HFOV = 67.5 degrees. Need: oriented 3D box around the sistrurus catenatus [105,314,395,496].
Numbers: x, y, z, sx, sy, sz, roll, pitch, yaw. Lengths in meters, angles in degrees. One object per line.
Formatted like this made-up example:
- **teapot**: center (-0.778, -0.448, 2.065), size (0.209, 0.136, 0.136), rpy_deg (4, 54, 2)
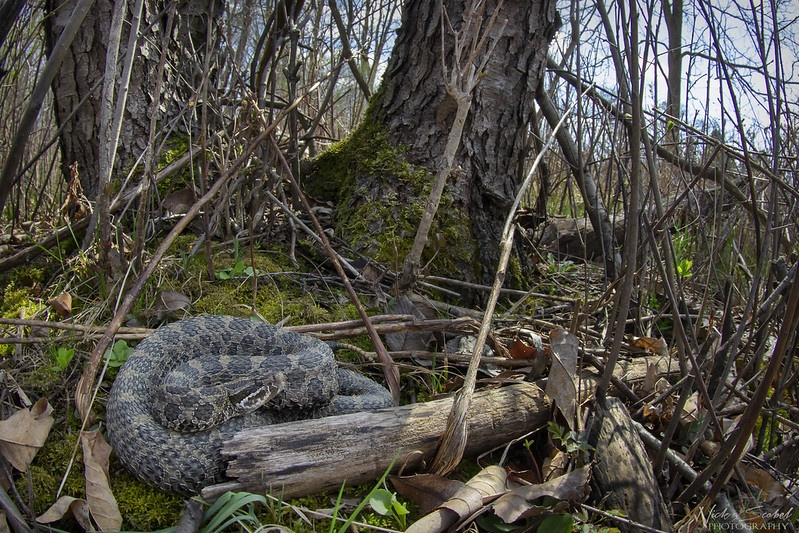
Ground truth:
- **sistrurus catenatus**: center (-1.375, 1.048, 4.609), size (1.468, 0.603, 1.435), rpy_deg (10, 9, 37)
